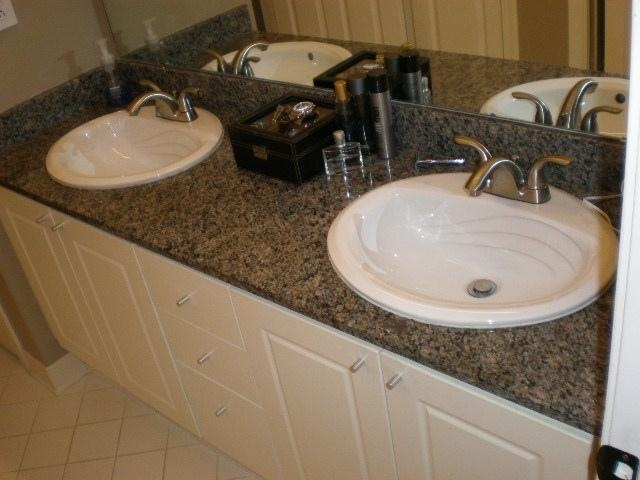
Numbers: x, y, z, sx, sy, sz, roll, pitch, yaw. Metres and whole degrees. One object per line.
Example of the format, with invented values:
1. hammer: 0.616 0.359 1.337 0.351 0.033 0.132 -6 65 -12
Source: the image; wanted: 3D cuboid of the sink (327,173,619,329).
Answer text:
1. sink: 0.321 0.020 1.157 0.603 0.133 0.485 15 43 26
